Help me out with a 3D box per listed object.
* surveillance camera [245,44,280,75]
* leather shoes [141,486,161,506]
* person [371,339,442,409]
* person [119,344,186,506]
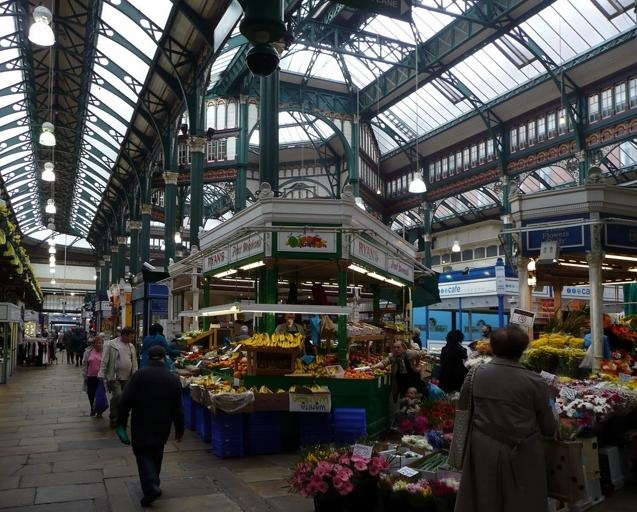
[{"bbox_3d":[-0.434,-1.518,4.611,0.250,0.278,0.264,0,1,2],"label":"surveillance camera"},{"bbox_3d":[-1.727,2.525,6.034,0.101,0.125,0.286,19,-59,-39],"label":"leather shoes"},{"bbox_3d":[1.332,1.932,9.325,0.992,1.437,0.438,-10,32,4],"label":"person"},{"bbox_3d":[-1.796,1.813,6.232,0.611,1.632,0.322,-1,-8,8],"label":"person"}]
